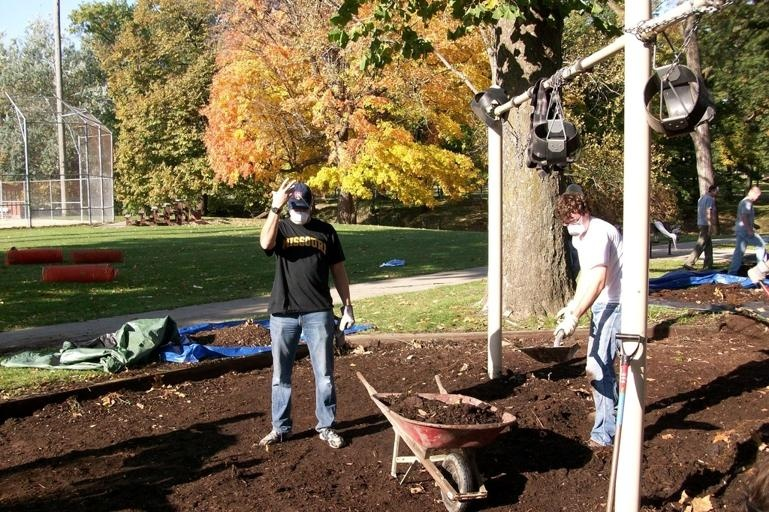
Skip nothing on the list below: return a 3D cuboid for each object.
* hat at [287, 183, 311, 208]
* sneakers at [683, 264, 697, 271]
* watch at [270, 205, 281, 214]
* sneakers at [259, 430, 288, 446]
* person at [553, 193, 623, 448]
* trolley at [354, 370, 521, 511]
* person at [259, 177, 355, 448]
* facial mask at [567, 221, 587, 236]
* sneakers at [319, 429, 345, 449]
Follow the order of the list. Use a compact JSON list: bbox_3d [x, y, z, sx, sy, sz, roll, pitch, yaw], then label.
[{"bbox_3d":[-0.980,-0.708,8.063,0.286,0.302,0.238,-4,3,-14],"label":"hat"},{"bbox_3d":[7.587,0.296,17.047,0.390,0.172,0.131,4,7,-31],"label":"sneakers"},{"bbox_3d":[-1.234,-0.529,7.847,0.091,0.053,0.092,23,9,7],"label":"watch"},{"bbox_3d":[-1.279,2.155,8.053,0.372,0.164,0.145,4,-3,-28],"label":"sneakers"},{"bbox_3d":[2.429,0.733,8.008,0.824,3.004,0.691,-3,4,2],"label":"person"},{"bbox_3d":[0.640,2.021,7.185,0.840,0.843,1.824,1,-9,-19],"label":"trolley"},{"bbox_3d":[-0.914,0.676,8.150,0.998,3.143,0.913,-2,4,17],"label":"person"},{"bbox_3d":[2.261,-0.322,8.057,0.170,0.145,0.168,3,-1,-28],"label":"facial mask"},{"bbox_3d":[-0.615,2.141,7.973,0.305,0.146,0.144,9,2,44],"label":"sneakers"}]
